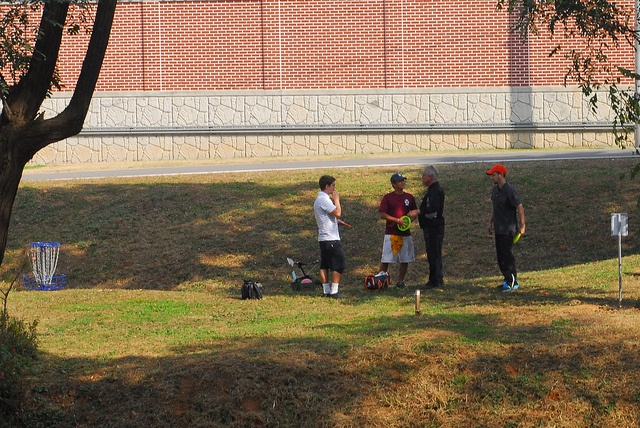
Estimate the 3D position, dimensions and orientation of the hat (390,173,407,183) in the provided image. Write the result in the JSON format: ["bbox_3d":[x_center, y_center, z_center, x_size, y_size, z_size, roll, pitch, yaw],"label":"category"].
[{"bbox_3d":[2.139,-0.984,33.550,0.365,0.216,0.282,-22,-5,42],"label":"hat"}]

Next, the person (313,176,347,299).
[{"bbox_3d":[0.280,0.620,33.568,0.777,3.422,0.895,-2,1,-1],"label":"person"}]

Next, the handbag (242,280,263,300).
[{"bbox_3d":[-1.822,2.134,33.352,0.542,0.565,0.484,-6,10,-24],"label":"handbag"}]

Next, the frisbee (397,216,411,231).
[{"bbox_3d":[2.350,0.252,33.201,0.369,0.376,0.097,-28,-13,28],"label":"frisbee"}]

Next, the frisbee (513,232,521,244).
[{"bbox_3d":[5.366,0.656,32.481,0.071,0.275,0.291,38,22,9],"label":"frisbee"}]

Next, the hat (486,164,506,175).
[{"bbox_3d":[4.820,-1.237,32.820,0.477,0.237,0.312,-1,0,11],"label":"hat"}]

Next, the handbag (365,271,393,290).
[{"bbox_3d":[1.631,1.911,33.503,0.560,0.379,0.508,-2,1,-42],"label":"handbag"}]

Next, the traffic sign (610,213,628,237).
[{"bbox_3d":[7.797,0.264,31.199,0.634,0.842,0.107,1,4,14],"label":"traffic sign"}]
